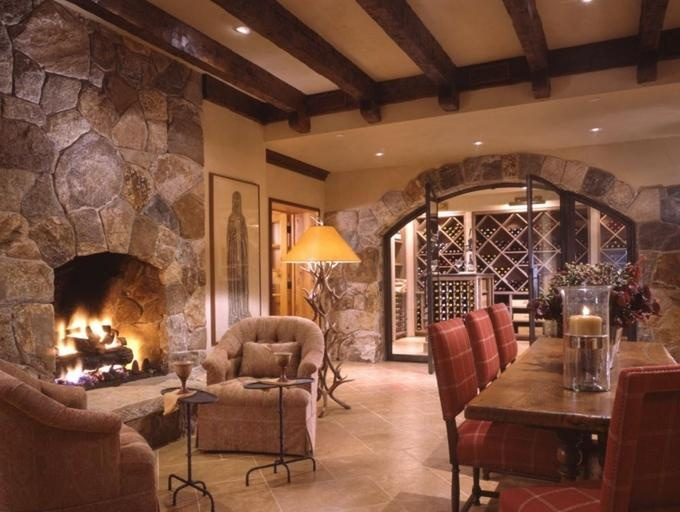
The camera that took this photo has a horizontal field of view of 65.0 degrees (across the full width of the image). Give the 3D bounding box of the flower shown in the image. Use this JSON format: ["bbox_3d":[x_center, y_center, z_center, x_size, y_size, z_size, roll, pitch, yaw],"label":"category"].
[{"bbox_3d":[1.552,0.219,3.238,0.502,0.309,0.529,-3,-5,31],"label":"flower"}]

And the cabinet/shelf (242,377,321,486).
[{"bbox_3d":[-0.449,1.264,4.091,0.535,0.731,0.701,-1,2,-4],"label":"cabinet/shelf"}]

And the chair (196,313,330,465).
[{"bbox_3d":[-0.682,1.123,4.848,1.013,1.125,1.208,0,-8,4],"label":"chair"}]
